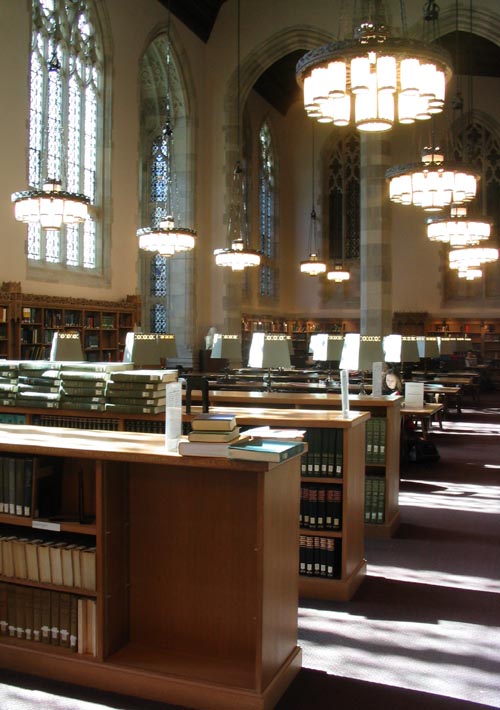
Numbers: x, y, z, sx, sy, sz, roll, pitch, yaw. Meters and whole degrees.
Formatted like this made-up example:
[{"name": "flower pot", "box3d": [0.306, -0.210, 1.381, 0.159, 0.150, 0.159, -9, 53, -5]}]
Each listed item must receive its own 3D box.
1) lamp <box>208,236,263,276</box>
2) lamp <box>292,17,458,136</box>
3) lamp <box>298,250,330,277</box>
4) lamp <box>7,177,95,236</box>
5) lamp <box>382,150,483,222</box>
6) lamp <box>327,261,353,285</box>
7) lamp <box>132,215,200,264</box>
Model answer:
[{"name": "lamp", "box3d": [-0.171, -1.941, 13.511, 0.933, 0.770, 1.013, -1, -2, 22]}, {"name": "lamp", "box3d": [1.031, -2.255, 5.595, 1.141, 0.984, 1.266, 5, 0, -9]}, {"name": "lamp", "box3d": [1.832, -2.623, 19.746, 0.829, 0.934, 0.892, 3, 3, 25]}, {"name": "lamp", "box3d": [-2.508, -1.879, 8.389, 0.848, 0.644, 0.838, -5, 4, -43]}, {"name": "lamp", "box3d": [2.341, -2.258, 8.582, 1.029, 0.841, 1.148, 0, 5, -4]}, {"name": "lamp", "box3d": [2.732, -2.503, 20.351, 0.753, 0.835, 0.840, 0, -1, -1]}, {"name": "lamp", "box3d": [-1.191, -1.833, 10.594, 0.824, 0.693, 0.890, 3, 7, 24]}]
